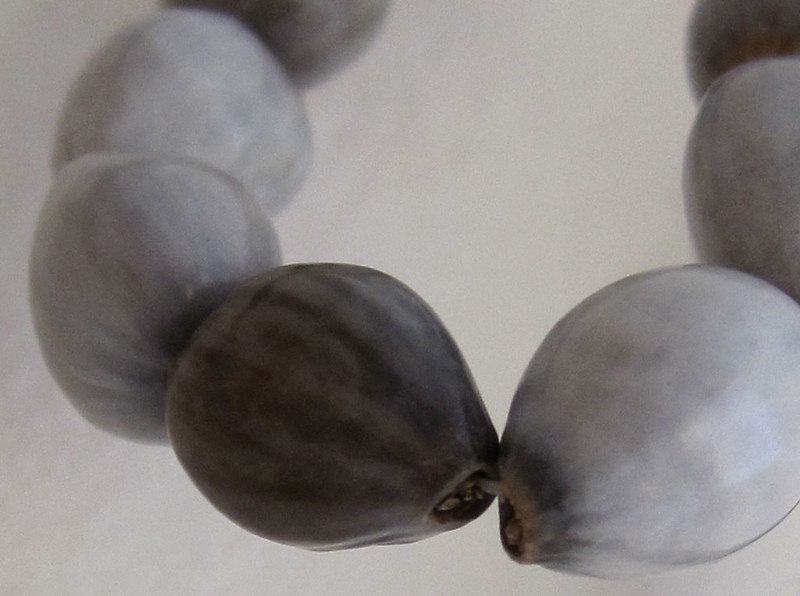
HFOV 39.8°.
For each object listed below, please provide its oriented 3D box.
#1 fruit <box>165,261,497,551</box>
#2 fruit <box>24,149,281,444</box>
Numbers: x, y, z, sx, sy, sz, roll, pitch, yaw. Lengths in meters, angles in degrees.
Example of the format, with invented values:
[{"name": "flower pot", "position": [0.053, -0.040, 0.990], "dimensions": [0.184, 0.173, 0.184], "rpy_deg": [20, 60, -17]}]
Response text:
[{"name": "fruit", "position": [-0.031, 0.061, 0.604], "dimensions": [0.152, 0.129, 0.124], "rpy_deg": [27, -7, 8]}, {"name": "fruit", "position": [-0.142, -0.037, 0.647], "dimensions": [0.119, 0.084, 0.135], "rpy_deg": [5, -2, -38]}]
